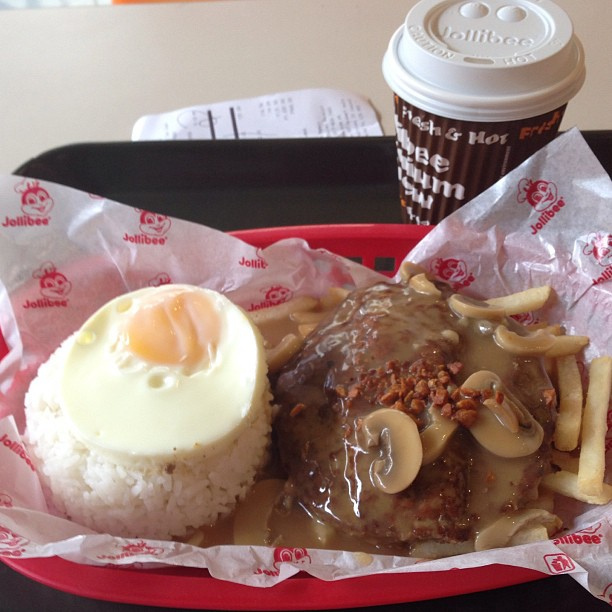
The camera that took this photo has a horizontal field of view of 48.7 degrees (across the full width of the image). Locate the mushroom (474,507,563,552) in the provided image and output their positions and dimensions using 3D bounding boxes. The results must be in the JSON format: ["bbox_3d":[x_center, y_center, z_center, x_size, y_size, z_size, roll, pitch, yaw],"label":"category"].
[{"bbox_3d":[0.374,0.411,1.322,0.165,0.071,0.159,1,23,0],"label":"mushroom"}]

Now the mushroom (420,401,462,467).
[{"bbox_3d":[0.248,0.236,1.241,0.064,0.026,0.101,17,66,21],"label":"mushroom"}]

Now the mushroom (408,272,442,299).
[{"bbox_3d":[0.255,-0.046,1.466,0.047,0.023,0.065,-18,30,-10],"label":"mushroom"}]
